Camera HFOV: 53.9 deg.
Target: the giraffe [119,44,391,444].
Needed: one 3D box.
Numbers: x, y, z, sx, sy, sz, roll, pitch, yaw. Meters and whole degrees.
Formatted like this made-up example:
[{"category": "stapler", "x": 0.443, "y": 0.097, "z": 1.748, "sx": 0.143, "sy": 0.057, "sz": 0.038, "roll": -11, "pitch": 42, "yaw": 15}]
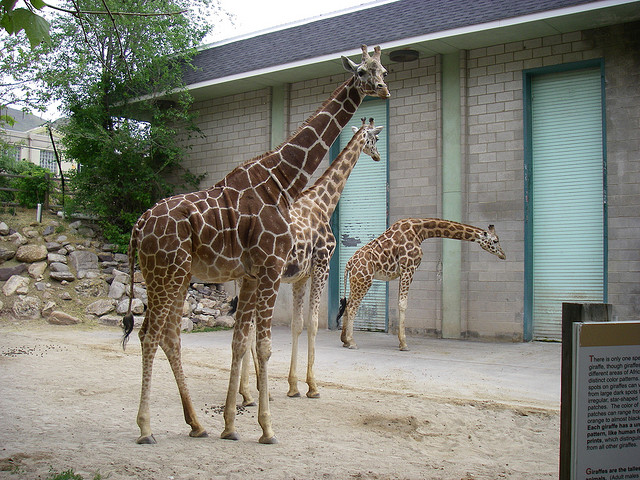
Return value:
[{"category": "giraffe", "x": -0.807, "y": 0.009, "z": 6.905, "sx": 2.420, "sy": 4.203, "sz": 0.858, "roll": 0, "pitch": 5, "yaw": -17}]
